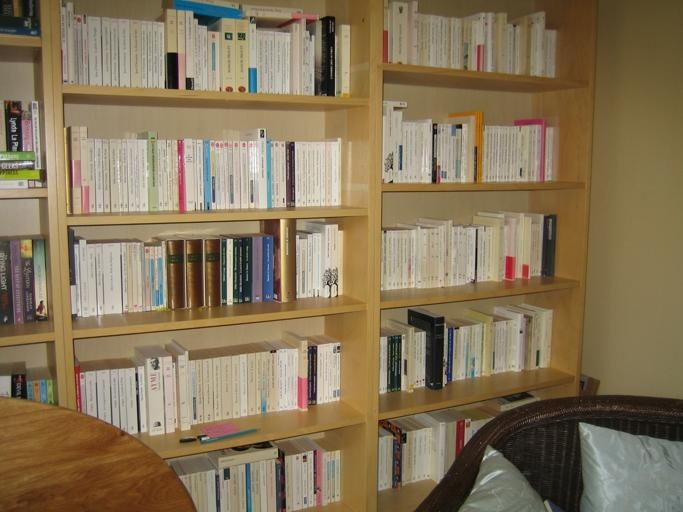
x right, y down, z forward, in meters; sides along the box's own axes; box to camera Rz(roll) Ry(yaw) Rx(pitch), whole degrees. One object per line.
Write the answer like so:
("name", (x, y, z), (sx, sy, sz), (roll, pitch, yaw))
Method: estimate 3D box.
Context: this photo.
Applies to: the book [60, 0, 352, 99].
("book", (-0.516, -0.808, 2.404), (1.048, 0.334, 0.180), (-5, 12, -29))
